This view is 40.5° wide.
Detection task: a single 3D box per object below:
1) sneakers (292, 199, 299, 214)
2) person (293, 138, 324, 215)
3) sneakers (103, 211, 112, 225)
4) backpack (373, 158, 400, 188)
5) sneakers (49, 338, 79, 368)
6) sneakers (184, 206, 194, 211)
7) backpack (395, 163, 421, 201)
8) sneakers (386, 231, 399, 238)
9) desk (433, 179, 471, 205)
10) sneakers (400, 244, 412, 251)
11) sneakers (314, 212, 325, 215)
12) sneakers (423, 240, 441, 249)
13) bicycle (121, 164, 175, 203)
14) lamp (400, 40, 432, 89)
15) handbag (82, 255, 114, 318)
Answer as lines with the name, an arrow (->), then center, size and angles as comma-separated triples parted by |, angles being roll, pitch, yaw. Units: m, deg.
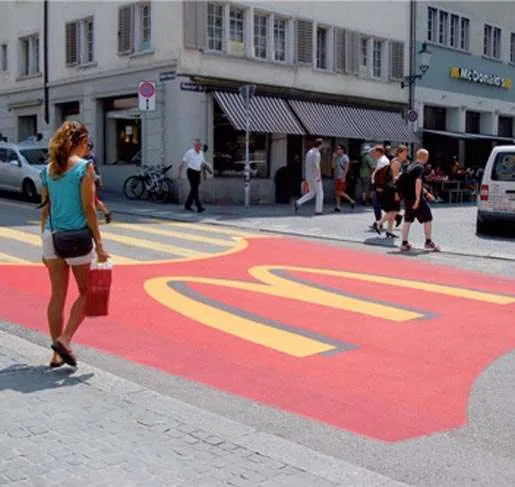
sneakers -> 0.982, -0.896, 17.946 | 0.131, 0.427, 0.144 | -7, 28, -6
person -> 1.292, -1.659, 17.612 | 0.730, 1.891, 1.208 | 0, 6, 3
sneakers -> -2.781, -0.470, 12.977 | 0.116, 0.348, 0.126 | -2, -4, 6
backpack -> 2.413, -1.324, 13.257 | 0.504, 0.639, 0.368 | 10, -3, 9
sneakers -> -1.416, 0.809, 5.191 | 0.103, 0.302, 0.107 | -36, 18, -30
sneakers -> -1.760, -0.935, 18.131 | 0.202, 0.171, 0.098 | -8, 50, -20
backpack -> 2.607, -1.054, 12.072 | 0.388, 0.880, 0.796 | 2, 6, 6
sneakers -> 2.612, -0.178, 13.611 | 0.090, 0.157, 0.311 | 11, 12, 32
desk -> 7.389, -1.911, 26.165 | 1.503, 0.943, 0.875 | -9, 14, -28
sneakers -> 2.510, 0.066, 11.897 | 0.218, 0.123, 0.086 | 2, 19, -3
sneakers -> 1.559, -0.762, 17.748 | 0.196, 0.109, 0.073 | -2, 3, -23
sneakers -> 3.013, 0.019, 12.160 | 0.217, 0.174, 0.124 | 4, 9, 27
bicycle -> -3.208, -1.753, 21.004 | 1.571, 1.174, 0.886 | 13, 14, 33
lamp -> 6.348, -7.014, 27.493 | 0.944, 1.671, 0.601 | -1, 14, 7
handbag -> -1.196, 0.329, 5.241 | 0.199, 0.427, 0.221 | -2, 6, -16
